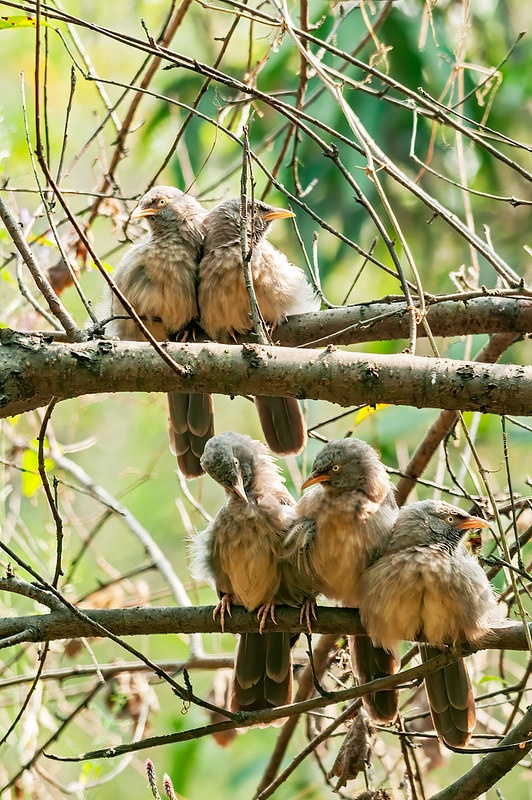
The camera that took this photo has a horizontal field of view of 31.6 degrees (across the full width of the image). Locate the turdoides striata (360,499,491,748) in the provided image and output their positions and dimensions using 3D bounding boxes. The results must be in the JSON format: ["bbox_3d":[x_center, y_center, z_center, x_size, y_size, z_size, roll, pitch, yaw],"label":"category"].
[{"bbox_3d":[0.516,0.718,3.041,0.386,0.409,0.778,1,-48,8],"label":"turdoides striata"}]

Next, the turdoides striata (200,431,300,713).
[{"bbox_3d":[0.030,0.605,3.304,0.387,0.456,0.911,-4,-69,7],"label":"turdoides striata"}]

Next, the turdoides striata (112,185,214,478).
[{"bbox_3d":[-0.455,-0.456,4.023,0.422,1.064,0.794,-1,-46,-5],"label":"turdoides striata"}]
